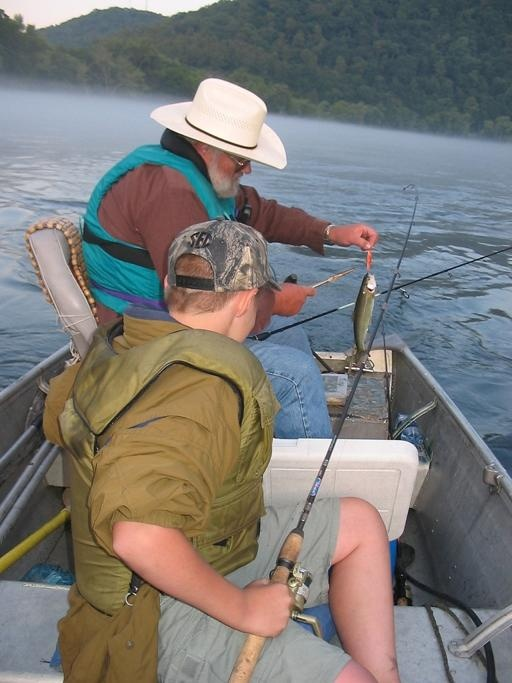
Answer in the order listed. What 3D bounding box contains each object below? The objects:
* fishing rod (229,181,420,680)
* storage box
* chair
[{"bbox_3d":[0.735,-0.681,2.756,0.351,0.208,4.510,21,45,5],"label":"fishing rod"},{"bbox_3d":[0.257,0.475,1.846,0.503,0.337,0.404,6,13,-12],"label":"storage box"},{"bbox_3d":[-0.757,-0.234,2.362,0.318,0.593,0.275,-3,21,-16],"label":"chair"}]
